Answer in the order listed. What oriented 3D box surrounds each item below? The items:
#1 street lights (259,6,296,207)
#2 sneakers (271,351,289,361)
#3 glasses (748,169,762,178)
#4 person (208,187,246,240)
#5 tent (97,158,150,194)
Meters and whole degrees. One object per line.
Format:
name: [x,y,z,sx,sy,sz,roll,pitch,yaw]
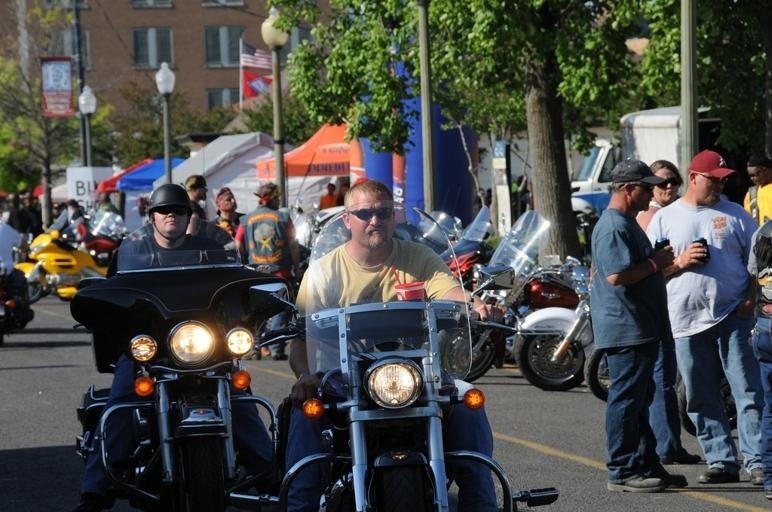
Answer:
street lights: [-2.254,-3.291,26.245,0.952,4.565,0.689,-4,19,-3]
sneakers: [-1.644,1.532,19.756,0.227,0.121,0.152,4,3,10]
glasses: [5.402,-1.230,18.629,0.132,0.099,0.128,-12,2,-34]
person: [-2.572,-0.715,20.161,0.435,0.672,0.931,-9,5,29]
tent: [-8.775,-2.582,42.106,1.963,0.948,1.951,-5,2,-4]
